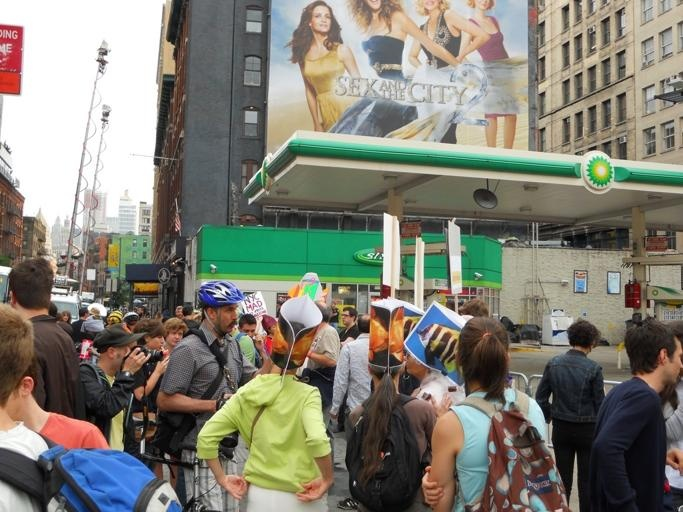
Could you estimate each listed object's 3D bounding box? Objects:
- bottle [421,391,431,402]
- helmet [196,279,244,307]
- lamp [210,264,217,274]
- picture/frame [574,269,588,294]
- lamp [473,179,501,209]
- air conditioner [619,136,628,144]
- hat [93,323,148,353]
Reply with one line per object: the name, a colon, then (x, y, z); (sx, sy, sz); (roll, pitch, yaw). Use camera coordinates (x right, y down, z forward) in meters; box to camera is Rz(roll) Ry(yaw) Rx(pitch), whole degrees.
bottle: (0.724, 1.190, 6.138); (0.073, 0.082, 0.137); (18, -11, 14)
helmet: (-1.069, 0.336, 6.379); (0.306, 0.165, 0.236); (-2, -1, 16)
lamp: (-5.562, 0.550, 31.364); (0.219, 0.399, 0.341); (4, 6, 5)
picture/frame: (14.750, 1.597, 44.735); (1.211, 1.938, 0.129); (3, -7, -17)
lamp: (3.504, -1.419, 17.484); (0.605, 0.718, 0.721); (6, -3, 15)
air conditioner: (22.453, -9.267, 57.720); (0.379, 0.802, 0.740); (-2, 3, -10)
hat: (-1.938, 0.700, 6.250); (0.310, 0.152, 0.207); (-10, 9, -20)
